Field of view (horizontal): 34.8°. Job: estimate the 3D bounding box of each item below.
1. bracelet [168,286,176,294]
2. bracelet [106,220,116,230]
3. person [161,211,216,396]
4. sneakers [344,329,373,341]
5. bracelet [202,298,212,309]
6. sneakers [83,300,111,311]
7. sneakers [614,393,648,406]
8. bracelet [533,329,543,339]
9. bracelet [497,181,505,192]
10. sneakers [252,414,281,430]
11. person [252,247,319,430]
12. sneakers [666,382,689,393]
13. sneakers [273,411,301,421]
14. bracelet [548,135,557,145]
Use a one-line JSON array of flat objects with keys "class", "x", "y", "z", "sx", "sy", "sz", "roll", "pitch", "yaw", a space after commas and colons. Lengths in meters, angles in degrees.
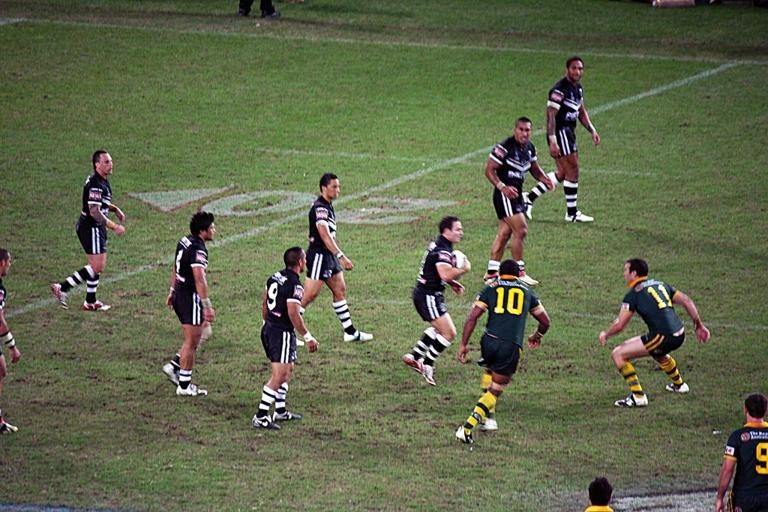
[{"class": "bracelet", "x": -4.133, "y": 0.652, "z": 23.997, "sx": 0.076, "sy": 0.065, "sz": 0.249, "roll": 0, "pitch": 11, "yaw": -2}, {"class": "bracelet", "x": -5.671, "y": -0.648, "z": 25.586, "sx": 0.221, "sy": 0.106, "sz": 0.289, "roll": -14, "pitch": 31, "yaw": -16}, {"class": "person", "x": -3.674, "y": 0.873, "z": 23.294, "sx": 0.852, "sy": 3.483, "sz": 0.895, "roll": 3, "pitch": 11, "yaw": -10}, {"class": "sneakers", "x": -0.512, "y": 1.589, "z": 24.957, "sx": 0.579, "sy": 0.235, "sz": 0.230, "roll": -3, "pitch": 13, "yaw": -11}, {"class": "bracelet", "x": -3.303, "y": 0.867, "z": 23.024, "sx": 0.184, "sy": 0.163, "sz": 0.155, "roll": 0, "pitch": 10, "yaw": 3}, {"class": "sneakers", "x": -6.061, "y": 1.025, "z": 26.063, "sx": 0.583, "sy": 0.227, "sz": 0.212, "roll": 0, "pitch": 17, "yaw": -6}, {"class": "sneakers", "x": 4.622, "y": 2.659, "z": 22.954, "sx": 0.690, "sy": 0.288, "sz": 0.237, "roll": 1, "pitch": 4, "yaw": 4}, {"class": "bracelet", "x": 2.889, "y": 1.437, "z": 23.011, "sx": 0.138, "sy": 0.078, "sz": 0.152, "roll": -3, "pitch": 8, "yaw": -33}, {"class": "bracelet", "x": 2.470, "y": -1.487, "z": 25.833, "sx": 0.128, "sy": 0.165, "sz": 0.220, "roll": -43, "pitch": 34, "yaw": -8}, {"class": "sneakers", "x": -2.144, "y": 3.035, "z": 22.656, "sx": 0.603, "sy": 0.254, "sz": 0.200, "roll": 6, "pitch": 18, "yaw": -5}, {"class": "person", "x": -1.787, "y": 1.493, "z": 22.649, "sx": 1.013, "sy": 3.292, "sz": 0.857, "roll": 6, "pitch": 10, "yaw": 5}, {"class": "sneakers", "x": 5.563, "y": 2.450, "z": 23.235, "sx": 0.369, "sy": 0.177, "sz": 0.180, "roll": 6, "pitch": 13, "yaw": 28}, {"class": "sneakers", "x": -1.792, "y": 2.927, "z": 22.872, "sx": 0.571, "sy": 0.224, "sz": 0.191, "roll": -1, "pitch": 10, "yaw": -12}, {"class": "bracelet", "x": 3.767, "y": -2.628, "z": 27.376, "sx": 0.177, "sy": 0.169, "sz": 0.177, "roll": 4, "pitch": 15, "yaw": 16}]
